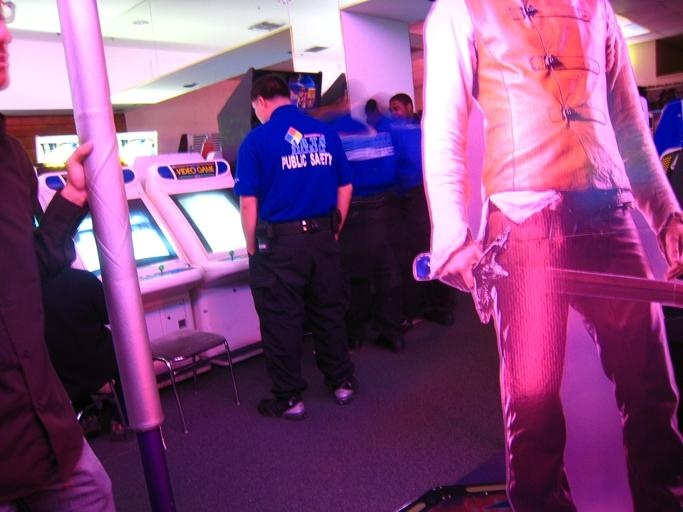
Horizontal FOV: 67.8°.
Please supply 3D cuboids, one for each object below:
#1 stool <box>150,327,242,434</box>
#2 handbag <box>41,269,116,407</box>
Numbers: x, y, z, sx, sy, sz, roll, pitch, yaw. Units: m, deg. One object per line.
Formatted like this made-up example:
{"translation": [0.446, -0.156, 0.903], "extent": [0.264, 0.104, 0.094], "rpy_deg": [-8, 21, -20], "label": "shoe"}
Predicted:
{"translation": [-0.914, 0.706, 2.974], "extent": [0.431, 0.413, 0.510], "rpy_deg": [-2, 4, 40], "label": "stool"}
{"translation": [-1.029, 0.277, 1.913], "extent": [0.297, 0.429, 0.224], "rpy_deg": [-9, 5, -29], "label": "handbag"}
